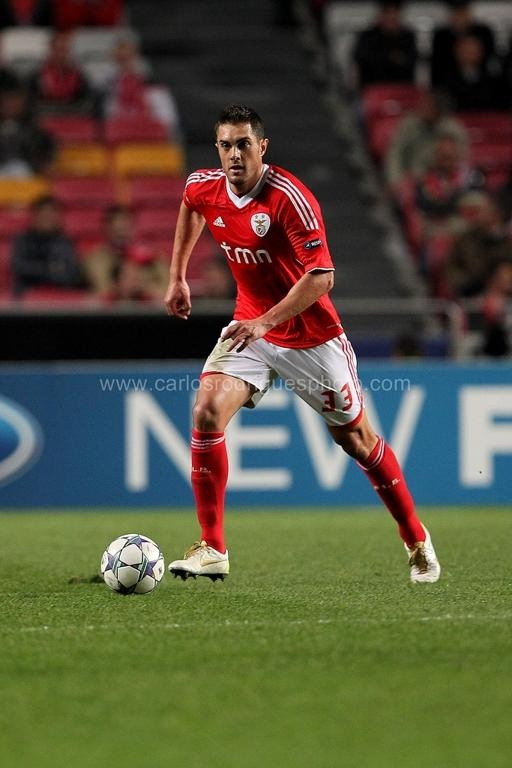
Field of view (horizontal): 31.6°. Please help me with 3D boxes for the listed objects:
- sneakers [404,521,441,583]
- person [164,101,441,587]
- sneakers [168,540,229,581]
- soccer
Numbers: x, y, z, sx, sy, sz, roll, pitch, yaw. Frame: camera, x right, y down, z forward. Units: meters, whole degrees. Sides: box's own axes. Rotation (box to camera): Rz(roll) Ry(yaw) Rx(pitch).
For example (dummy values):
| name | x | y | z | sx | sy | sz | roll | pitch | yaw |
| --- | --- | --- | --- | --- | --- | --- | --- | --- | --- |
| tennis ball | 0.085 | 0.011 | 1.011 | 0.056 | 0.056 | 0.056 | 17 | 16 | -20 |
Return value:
| name | x | y | z | sx | sy | sz | roll | pitch | yaw |
| --- | --- | --- | --- | --- | --- | --- | --- | --- | --- |
| sneakers | 0.624 | 0.604 | 3.313 | 0.094 | 0.103 | 0.228 | -26 | 40 | 21 |
| person | 0.144 | -0.064 | 3.284 | 0.947 | 1.762 | 1.083 | -6 | 35 | -5 |
| sneakers | -0.233 | 0.610 | 3.110 | 0.286 | 0.089 | 0.134 | 10 | 55 | -28 |
| soccer | -0.444 | 0.638 | 3.144 | 0.229 | 0.193 | 0.218 | 12 | -19 | -35 |
